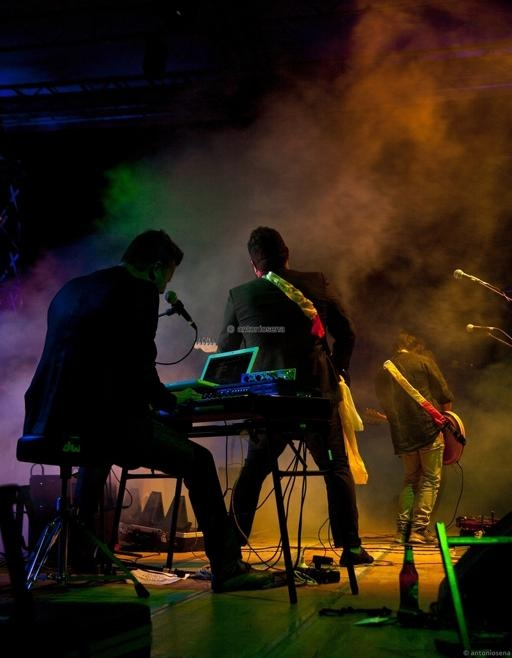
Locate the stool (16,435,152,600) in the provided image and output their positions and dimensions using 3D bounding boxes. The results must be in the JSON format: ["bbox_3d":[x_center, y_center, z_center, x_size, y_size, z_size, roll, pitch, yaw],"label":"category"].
[{"bbox_3d":[-0.701,0.711,2.146,0.471,0.559,0.486,6,-19,-25],"label":"stool"}]

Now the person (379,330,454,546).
[{"bbox_3d":[1.291,0.809,4.422,0.589,1.705,0.608,-6,-25,11],"label":"person"}]

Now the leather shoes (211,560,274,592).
[{"bbox_3d":[-0.060,1.007,2.237,0.190,0.064,0.131,-1,-10,-11],"label":"leather shoes"}]

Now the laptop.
[{"bbox_3d":[-0.206,0.184,2.580,0.181,0.248,0.306,33,-22,-32],"label":"laptop"}]
